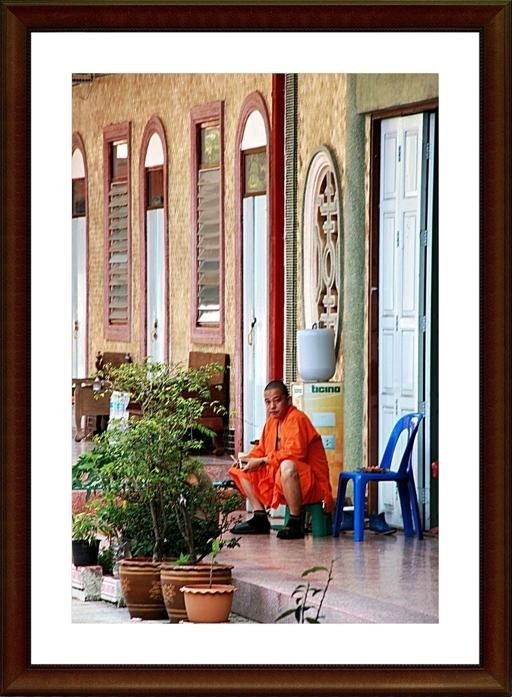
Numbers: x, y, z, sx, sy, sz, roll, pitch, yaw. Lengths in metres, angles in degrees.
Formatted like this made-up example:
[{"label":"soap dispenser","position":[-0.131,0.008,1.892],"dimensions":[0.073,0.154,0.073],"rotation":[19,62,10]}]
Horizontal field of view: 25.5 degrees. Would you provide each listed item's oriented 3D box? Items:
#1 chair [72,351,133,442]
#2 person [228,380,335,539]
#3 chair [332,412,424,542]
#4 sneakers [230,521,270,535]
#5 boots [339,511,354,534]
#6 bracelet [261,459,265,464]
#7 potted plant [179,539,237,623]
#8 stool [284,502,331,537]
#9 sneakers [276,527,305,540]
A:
[{"label":"chair","position":[-1.807,0.463,12.189],"dimensions":[0.414,0.881,0.545],"rotation":[-2,1,-6]},{"label":"person","position":[0.145,0.680,7.136],"dimensions":[0.497,0.989,0.473],"rotation":[-3,-3,36]},{"label":"chair","position":[0.732,0.758,6.789],"dimensions":[0.386,0.876,0.422],"rotation":[6,-4,0]},{"label":"sneakers","position":[-0.042,1.122,7.163],"dimensions":[0.239,0.162,0.114],"rotation":[3,-5,-11]},{"label":"boots","position":[0.572,1.100,7.193],"dimensions":[0.073,0.216,0.119],"rotation":[0,-3,0]},{"label":"bracelet","position":[0.043,0.695,7.039],"dimensions":[0.026,0.034,0.020],"rotation":[-1,-2,-16]},{"label":"potted plant","position":[-0.201,1.009,5.020],"dimensions":[0.229,0.441,0.252],"rotation":[8,-12,-29]},{"label":"stool","position":[0.373,1.054,7.022],"dimensions":[0.177,0.211,0.210],"rotation":[-4,-8,24]},{"label":"sneakers","position":[0.205,1.136,6.898],"dimensions":[0.169,0.108,0.069],"rotation":[9,-10,-31]}]
